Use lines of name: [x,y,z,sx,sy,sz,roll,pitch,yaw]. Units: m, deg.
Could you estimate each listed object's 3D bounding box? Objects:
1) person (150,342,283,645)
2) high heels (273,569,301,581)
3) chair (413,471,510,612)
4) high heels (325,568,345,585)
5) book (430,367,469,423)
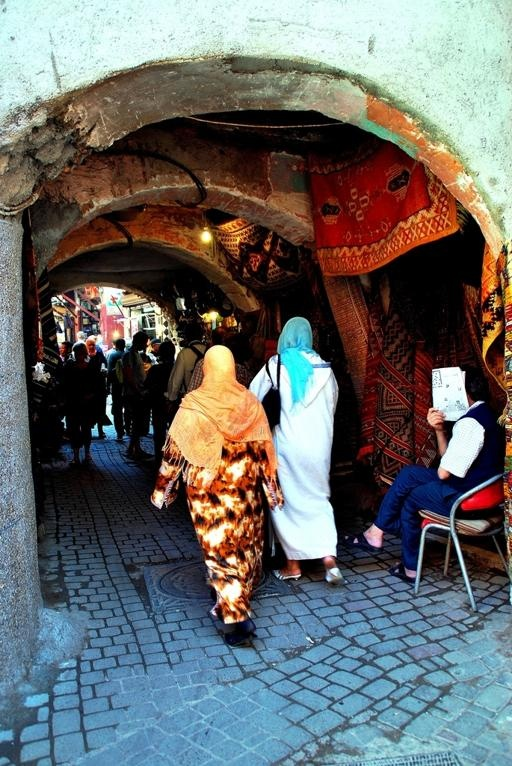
person: [-0.213,0.547,2.771,0.541,1.486,0.546,1,2,20]
high heels: [0.186,1.249,3.400,0.134,0.037,0.065,3,1,-22]
chair: [1.244,0.874,3.227,0.536,0.774,0.900,1,2,16]
high heels: [0.471,1.201,3.213,0.093,0.092,0.151,1,-1,-1]
book: [1.073,0.069,2.970,0.241,0.282,0.079,2,14,28]
